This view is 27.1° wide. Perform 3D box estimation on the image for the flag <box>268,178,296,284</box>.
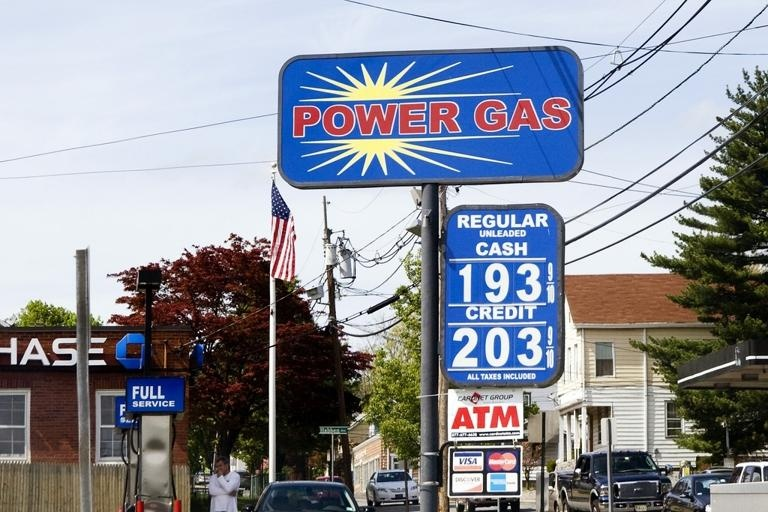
[{"bbox_3d":[-3.733,-0.698,58.597,0.874,3.286,0.685,-1,-12,-8],"label":"flag"}]
